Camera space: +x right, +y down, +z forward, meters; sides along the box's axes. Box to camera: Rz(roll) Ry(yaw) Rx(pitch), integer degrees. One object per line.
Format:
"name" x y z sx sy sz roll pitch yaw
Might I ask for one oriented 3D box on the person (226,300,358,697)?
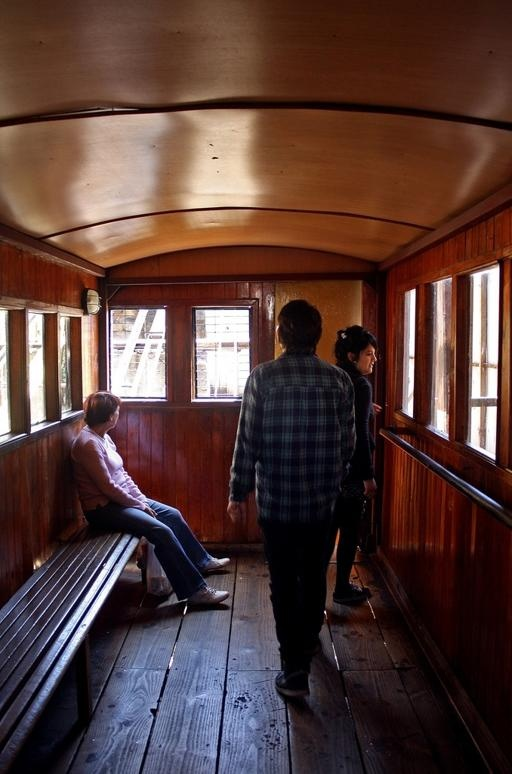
"person" 0.179 0.537 2.549 0.605 1.879 0.327 0 1 -2

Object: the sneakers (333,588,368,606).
"sneakers" 0.654 1.407 3.730 0.242 0.139 0.103 -3 2 -17

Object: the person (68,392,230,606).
"person" -0.735 0.748 3.815 0.988 1.505 0.659 -2 2 2
